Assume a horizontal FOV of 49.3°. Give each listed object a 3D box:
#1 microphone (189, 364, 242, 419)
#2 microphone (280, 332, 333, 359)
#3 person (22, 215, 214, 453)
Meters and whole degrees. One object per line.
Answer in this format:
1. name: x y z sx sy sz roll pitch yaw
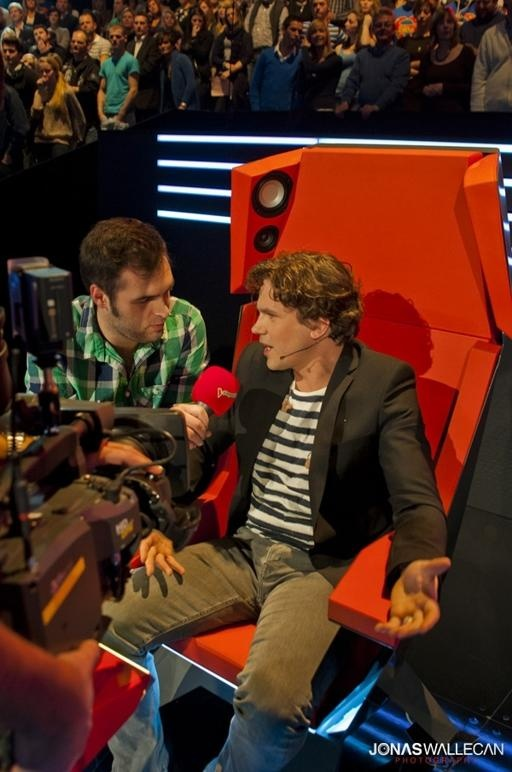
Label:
1. microphone: -0.118 0.009 1.684 0.116 0.127 0.149 22 55 3
2. microphone: 0.152 -0.130 1.765 0.145 0.021 0.018 -26 43 -16
3. person: -0.535 -0.164 2.274 0.783 0.951 0.561 -20 36 -35
